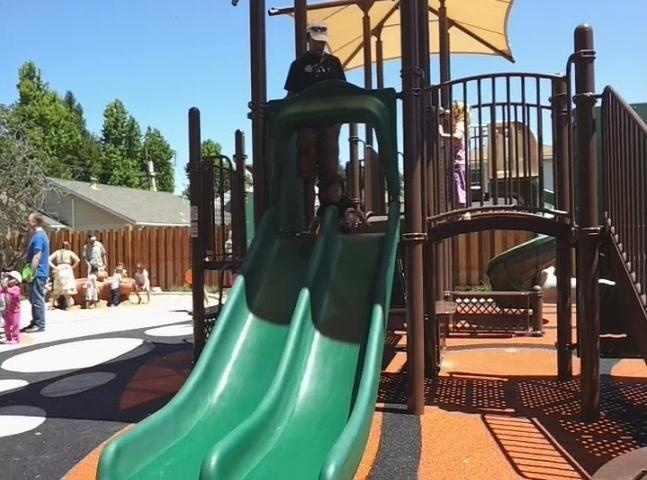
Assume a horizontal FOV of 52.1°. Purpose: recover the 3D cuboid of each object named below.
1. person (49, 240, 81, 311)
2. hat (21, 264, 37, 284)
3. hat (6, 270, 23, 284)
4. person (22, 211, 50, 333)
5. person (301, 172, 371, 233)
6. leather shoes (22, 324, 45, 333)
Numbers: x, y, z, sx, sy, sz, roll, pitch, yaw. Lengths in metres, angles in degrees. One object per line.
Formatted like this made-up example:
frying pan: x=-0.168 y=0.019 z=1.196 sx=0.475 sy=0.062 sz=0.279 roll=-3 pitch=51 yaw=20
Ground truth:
person: x=-5.850 y=0.829 z=15.018 sx=0.567 sy=1.201 sz=1.110 roll=-1 pitch=-1 yaw=-24
hat: x=-4.968 y=0.583 z=11.253 sx=0.219 sy=0.366 sz=0.086 roll=1 pitch=9 yaw=-28
hat: x=-4.866 y=0.592 z=10.469 sx=0.190 sy=0.148 sz=0.308 roll=-2 pitch=-1 yaw=-27
person: x=-4.975 y=0.565 z=11.504 sx=0.420 sy=1.608 sz=0.753 roll=-1 pitch=-1 yaw=-24
person: x=0.168 y=-0.488 z=8.674 sx=0.651 sy=0.886 sz=0.685 roll=2 pitch=6 yaw=36
leather shoes: x=-5.060 y=1.551 z=11.608 sx=0.353 sy=0.170 sz=0.135 roll=2 pitch=-5 yaw=-10
